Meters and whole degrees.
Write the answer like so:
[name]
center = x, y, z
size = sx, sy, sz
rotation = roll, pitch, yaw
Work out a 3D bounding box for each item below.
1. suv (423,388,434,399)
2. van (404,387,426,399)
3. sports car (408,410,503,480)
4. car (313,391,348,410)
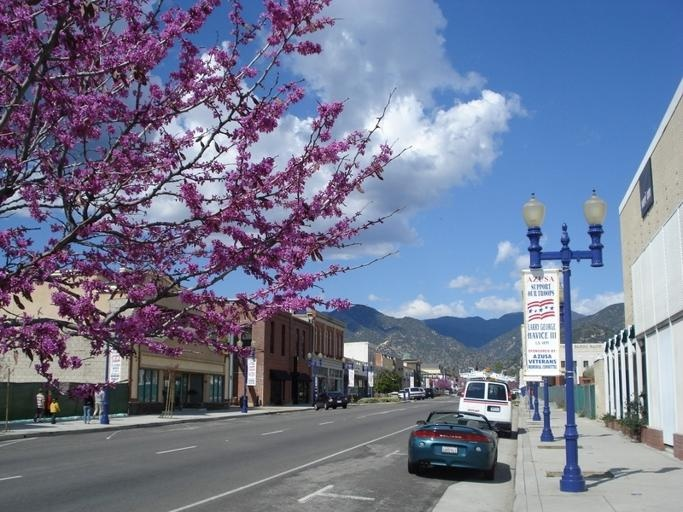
[suv]
center = 14.693, 22.965, 98.376
size = 1.290, 1.428, 2.456
rotation = 1, -2, 9
[van]
center = 10.904, 20.480, 88.029
size = 2.210, 2.057, 5.457
rotation = -7, -18, 20
[sports car]
center = 3.132, 4.952, 15.973
size = 2.004, 1.457, 4.380
rotation = 0, -11, 15
[car]
center = -0.943, 13.617, 55.674
size = 2.743, 1.718, 2.906
rotation = 5, -17, -19
